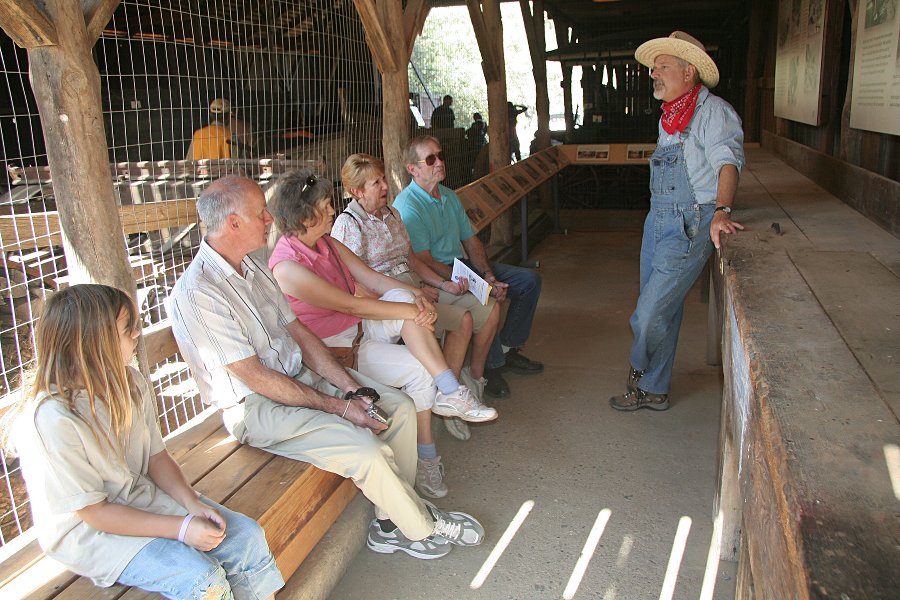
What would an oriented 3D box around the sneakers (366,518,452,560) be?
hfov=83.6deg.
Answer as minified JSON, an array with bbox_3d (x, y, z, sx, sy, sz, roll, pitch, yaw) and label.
[{"bbox_3d":[-0.241,1.431,3.156,0.535,0.260,0.201,3,26,9],"label":"sneakers"}]

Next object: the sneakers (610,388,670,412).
[{"bbox_3d":[1.636,0.837,4.375,0.444,0.215,0.212,7,10,5],"label":"sneakers"}]

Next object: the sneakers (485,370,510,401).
[{"bbox_3d":[0.442,0.763,4.613,0.131,0.130,0.299,-10,17,-26],"label":"sneakers"}]

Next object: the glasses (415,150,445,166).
[{"bbox_3d":[-0.178,-1.217,4.378,0.165,0.068,0.170,-4,13,-28],"label":"glasses"}]

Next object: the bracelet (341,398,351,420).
[{"bbox_3d":[-0.568,0.595,2.797,0.054,0.072,0.072,13,43,-15],"label":"bracelet"}]

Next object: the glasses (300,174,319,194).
[{"bbox_3d":[-0.867,-0.727,3.181,0.140,0.080,0.038,-48,-5,-23],"label":"glasses"}]

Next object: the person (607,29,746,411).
[{"bbox_3d":[1.795,-0.533,3.969,0.809,2.950,0.927,4,21,29],"label":"person"}]

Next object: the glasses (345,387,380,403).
[{"bbox_3d":[-0.495,0.525,2.883,0.138,0.053,0.097,-1,-3,-17],"label":"glasses"}]

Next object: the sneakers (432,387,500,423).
[{"bbox_3d":[0.064,0.677,3.449,0.538,0.264,0.192,6,11,2],"label":"sneakers"}]

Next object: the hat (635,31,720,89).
[{"bbox_3d":[1.776,-1.888,3.959,0.586,0.437,0.419,1,19,23],"label":"hat"}]

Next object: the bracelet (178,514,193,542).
[{"bbox_3d":[-1.034,0.889,1.970,0.018,0.078,0.073,20,-28,-15],"label":"bracelet"}]

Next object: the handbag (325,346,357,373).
[{"bbox_3d":[-0.707,0.383,3.365,0.160,0.063,0.125,4,10,-2],"label":"handbag"}]

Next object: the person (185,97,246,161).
[{"bbox_3d":[-2.927,-2.132,6.221,0.649,0.729,1.162,-14,19,-23],"label":"person"}]

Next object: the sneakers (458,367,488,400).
[{"bbox_3d":[0.212,0.694,4.338,0.165,0.357,0.133,-30,1,6],"label":"sneakers"}]
